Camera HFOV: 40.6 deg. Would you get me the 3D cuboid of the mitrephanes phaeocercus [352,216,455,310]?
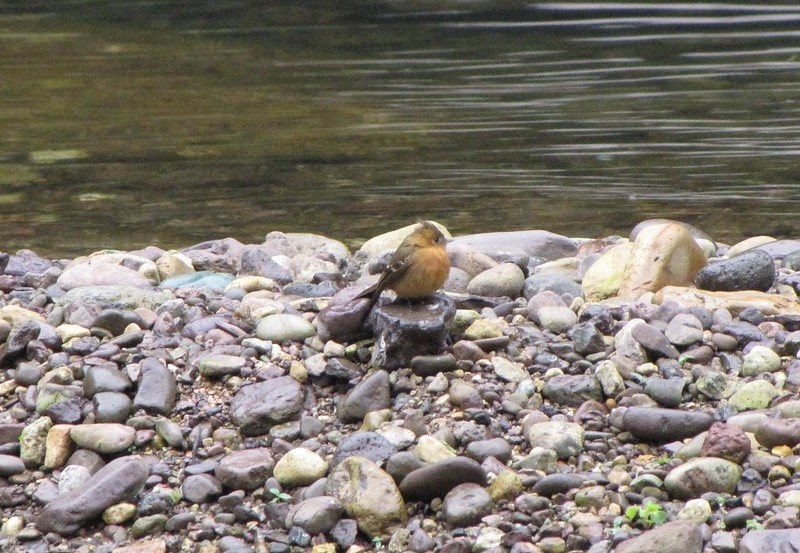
[{"bbox_3d":[0.092,-0.109,10.006,0.701,0.732,0.326,-6,28,-10],"label":"mitrephanes phaeocercus"}]
